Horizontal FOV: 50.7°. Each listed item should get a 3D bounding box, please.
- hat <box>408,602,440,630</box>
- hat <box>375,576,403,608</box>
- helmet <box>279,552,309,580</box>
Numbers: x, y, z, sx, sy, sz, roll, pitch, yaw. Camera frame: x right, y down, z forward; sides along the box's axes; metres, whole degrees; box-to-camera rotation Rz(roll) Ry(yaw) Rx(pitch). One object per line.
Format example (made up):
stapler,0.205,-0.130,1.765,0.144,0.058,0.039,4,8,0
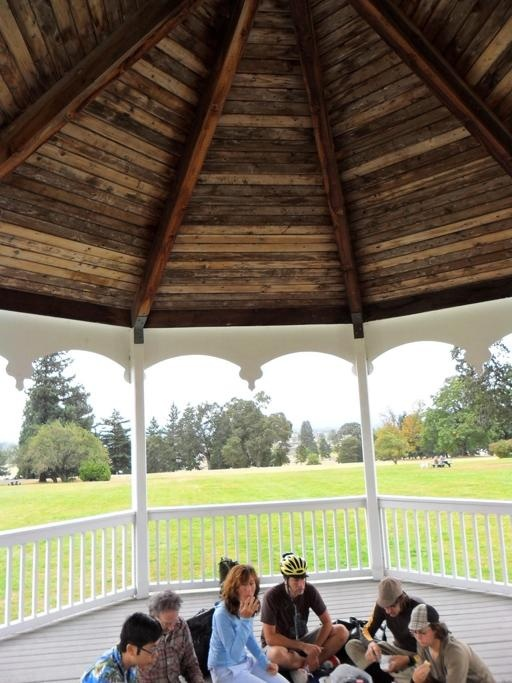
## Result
hat,0.831,1.365,2.673,0.130,0.117,0.160,-7,-12,19
hat,0.785,1.522,3.257,0.177,0.187,0.165,-9,-13,26
helmet,0.230,1.403,3.440,0.140,0.155,0.175,1,-2,-22
